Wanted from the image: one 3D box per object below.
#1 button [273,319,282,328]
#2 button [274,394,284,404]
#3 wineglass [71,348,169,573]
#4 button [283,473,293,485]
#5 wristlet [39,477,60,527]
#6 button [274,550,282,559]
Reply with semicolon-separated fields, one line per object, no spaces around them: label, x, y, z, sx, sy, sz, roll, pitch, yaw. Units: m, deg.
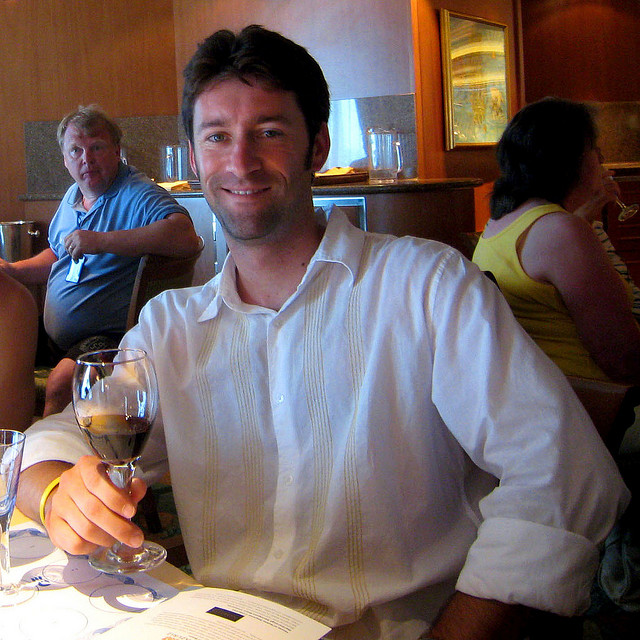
button;-0.070;0.006;1.022;0.014;0.013;0.003;-3;8;-21
button;-0.067;0.124;0.992;0.012;0.014;0.003;-3;-13;26
wineglass;-0.262;0.170;0.820;0.105;0.256;0.252;-2;8;-15
button;-0.051;0.245;0.969;0.015;0.016;0.004;-3;-10;43
wristlet;-0.366;0.243;0.850;0.026;0.052;0.023;-7;11;-43
button;-0.064;0.349;0.940;0.010;0.009;0.014;-6;10;-33
